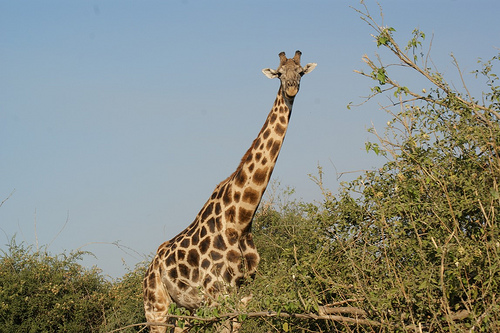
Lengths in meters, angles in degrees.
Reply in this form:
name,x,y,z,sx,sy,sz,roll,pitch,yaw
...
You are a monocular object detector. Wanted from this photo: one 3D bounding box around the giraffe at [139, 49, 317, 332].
name,x,y,z,sx,sy,sz,roll,pitch,yaw
giraffe,-0.576,0.935,16.124,2.707,5.786,4.400,4,-29,-10
